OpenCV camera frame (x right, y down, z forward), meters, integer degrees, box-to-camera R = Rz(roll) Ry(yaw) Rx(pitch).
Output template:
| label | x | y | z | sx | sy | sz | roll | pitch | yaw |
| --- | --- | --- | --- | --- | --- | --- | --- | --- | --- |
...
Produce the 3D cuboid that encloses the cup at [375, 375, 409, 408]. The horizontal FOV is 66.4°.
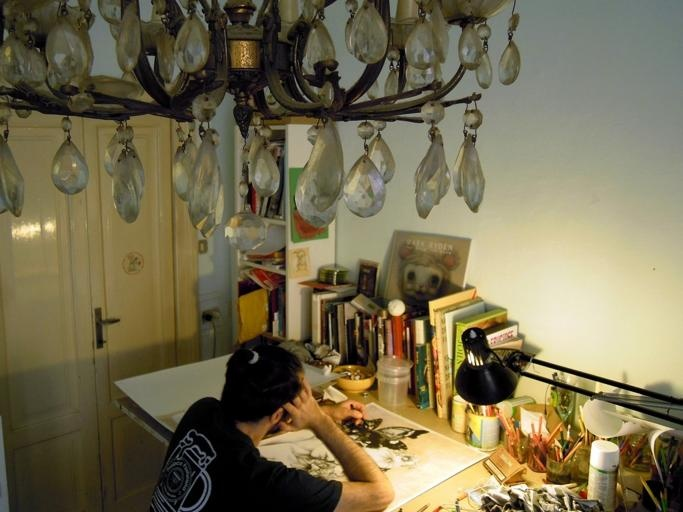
| label | x | y | z | sx | sy | sz | roll | pitch | yaw |
| --- | --- | --- | --- | --- | --- | --- | --- | --- | --- |
| cup | 0.243 | 0.648 | 2.477 | 0.132 | 0.148 | 0.142 | 1 | 0 | 0 |
